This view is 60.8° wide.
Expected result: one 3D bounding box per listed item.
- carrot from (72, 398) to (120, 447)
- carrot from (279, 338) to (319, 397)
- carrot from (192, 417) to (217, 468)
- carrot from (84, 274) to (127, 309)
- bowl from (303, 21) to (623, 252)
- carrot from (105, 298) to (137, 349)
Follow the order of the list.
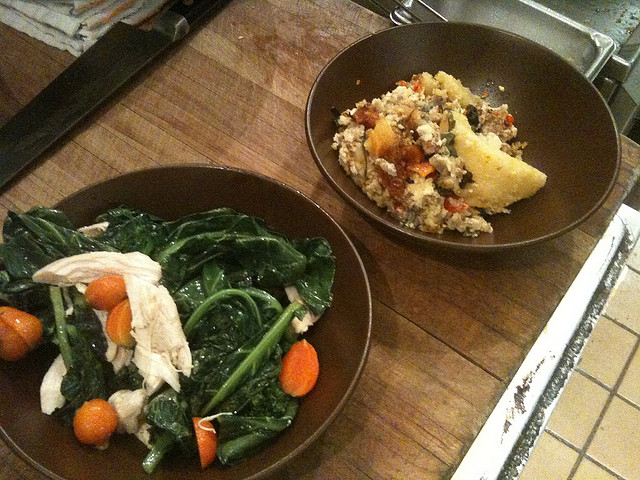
[{"bbox_3d":[-0.759,0.601,1.838,0.148,0.096,0.165,20,46,-8],"label":"carrot"},{"bbox_3d":[-0.063,0.454,1.967,0.137,0.112,0.189,4,79,24],"label":"carrot"},{"bbox_3d":[-0.379,0.677,1.812,0.100,0.129,0.131,-9,70,-5],"label":"carrot"},{"bbox_3d":[-0.761,0.193,1.932,0.126,0.121,0.152,10,83,-35],"label":"carrot"},{"bbox_3d":[0.535,-0.435,2.196,1.111,0.323,1.121,2,70,-7],"label":"bowl"},{"bbox_3d":[-0.671,0.285,1.903,0.087,0.126,0.153,-2,101,-41],"label":"carrot"}]
